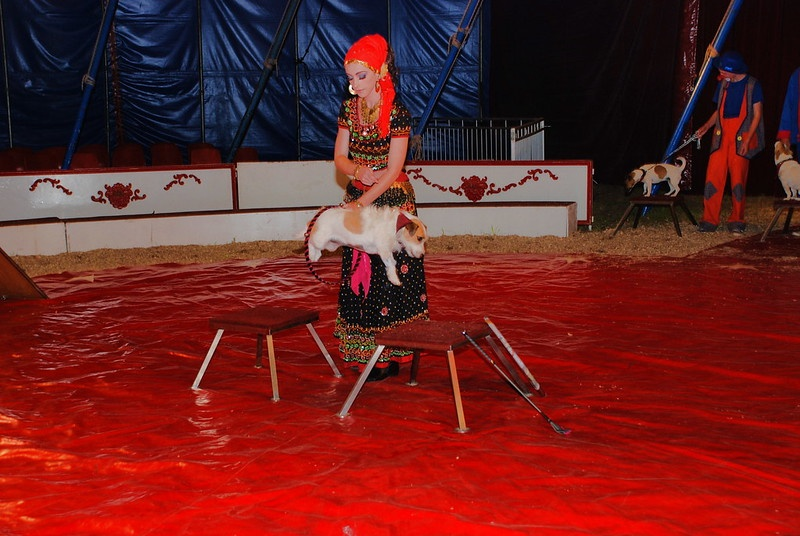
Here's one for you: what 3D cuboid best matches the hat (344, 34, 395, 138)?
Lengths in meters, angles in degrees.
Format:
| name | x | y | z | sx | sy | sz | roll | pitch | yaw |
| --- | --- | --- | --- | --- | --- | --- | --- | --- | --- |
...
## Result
| name | x | y | z | sx | sy | sz | roll | pitch | yaw |
| --- | --- | --- | --- | --- | --- | --- | --- | --- | --- |
| hat | -0.180 | -1.197 | 4.491 | 0.332 | 0.658 | 0.195 | -6 | 15 | -14 |

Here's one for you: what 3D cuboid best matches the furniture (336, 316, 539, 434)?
| name | x | y | z | sx | sy | sz | roll | pitch | yaw |
| --- | --- | --- | --- | --- | --- | --- | --- | --- | --- |
| furniture | 0.384 | 0.491 | 4.308 | 0.862 | 0.364 | 0.841 | 4 | 12 | 24 |

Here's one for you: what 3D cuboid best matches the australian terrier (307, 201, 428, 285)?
| name | x | y | z | sx | sy | sz | roll | pitch | yaw |
| --- | --- | --- | --- | --- | --- | --- | --- | --- | --- |
| australian terrier | -0.218 | -0.175 | 4.432 | 0.877 | 0.455 | 0.230 | 5 | 10 | 18 |

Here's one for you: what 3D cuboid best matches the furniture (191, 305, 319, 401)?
| name | x | y | z | sx | sy | sz | roll | pitch | yaw |
| --- | --- | --- | --- | --- | --- | --- | --- | --- | --- |
| furniture | -0.856 | 0.466 | 4.704 | 0.700 | 0.423 | 0.688 | 7 | 12 | 24 |

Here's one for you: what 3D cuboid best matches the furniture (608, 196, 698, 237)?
| name | x | y | z | sx | sy | sz | roll | pitch | yaw |
| --- | --- | --- | --- | --- | --- | --- | --- | --- | --- |
| furniture | 3.356 | -0.828 | 9.132 | 0.893 | 0.355 | 0.846 | 0 | 10 | 11 |

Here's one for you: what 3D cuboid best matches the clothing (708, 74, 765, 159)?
| name | x | y | z | sx | sy | sz | roll | pitch | yaw |
| --- | --- | --- | --- | --- | --- | --- | --- | --- | --- |
| clothing | 4.311 | -1.929 | 8.747 | 0.606 | 1.018 | 0.297 | 6 | 17 | 30 |
